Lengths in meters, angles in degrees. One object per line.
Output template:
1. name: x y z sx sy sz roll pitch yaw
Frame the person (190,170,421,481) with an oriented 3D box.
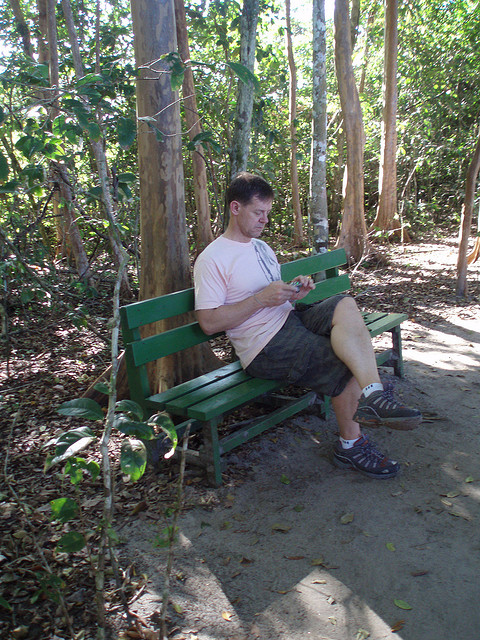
1. person: 0.343 0.001 2.927 1.155 1.634 0.733 4 14 24

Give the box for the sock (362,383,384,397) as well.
1. sock: 0.646 0.344 2.561 0.055 0.055 0.087 -20 4 -29

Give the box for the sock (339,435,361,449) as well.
1. sock: 0.589 0.673 2.861 0.120 0.049 0.038 -19 24 11

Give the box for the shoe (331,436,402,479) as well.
1. shoe: 0.689 0.741 2.879 0.150 0.184 0.408 -2 5 -41

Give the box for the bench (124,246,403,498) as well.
1. bench: 0.293 0.142 3.444 0.711 0.858 2.144 16 25 40

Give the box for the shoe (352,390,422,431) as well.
1. shoe: 0.725 0.427 2.566 0.164 0.200 0.380 24 -18 -35
